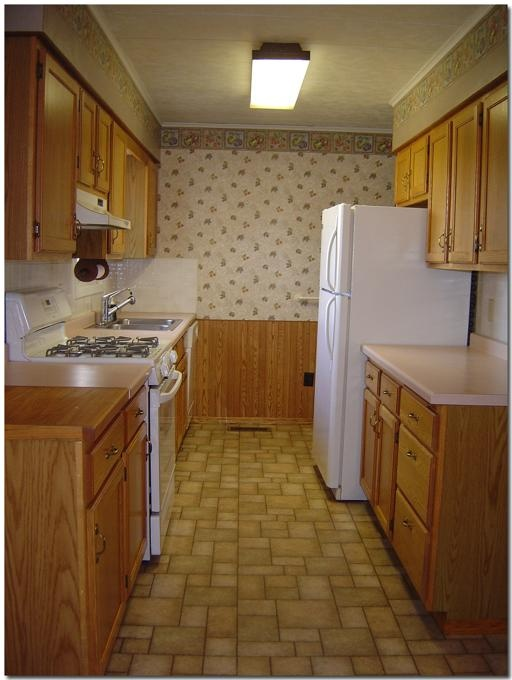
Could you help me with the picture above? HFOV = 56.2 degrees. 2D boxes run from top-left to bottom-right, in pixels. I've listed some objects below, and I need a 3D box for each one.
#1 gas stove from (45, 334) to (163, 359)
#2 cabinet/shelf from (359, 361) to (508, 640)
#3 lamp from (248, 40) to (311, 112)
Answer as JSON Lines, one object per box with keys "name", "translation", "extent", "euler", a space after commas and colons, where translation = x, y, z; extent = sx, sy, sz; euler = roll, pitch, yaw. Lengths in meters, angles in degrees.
{"name": "gas stove", "translation": [-0.713, 0.034, 2.314], "extent": [0.453, 0.053, 0.639], "euler": [2, 4, -7]}
{"name": "cabinet/shelf", "translation": [0.673, 0.612, 1.783], "extent": [0.327, 0.580, 0.879], "euler": [1, 2, 5]}
{"name": "lamp", "translation": [0.139, -1.568, 2.882], "extent": [0.333, 0.232, 0.972], "euler": [2, 4, -1]}
